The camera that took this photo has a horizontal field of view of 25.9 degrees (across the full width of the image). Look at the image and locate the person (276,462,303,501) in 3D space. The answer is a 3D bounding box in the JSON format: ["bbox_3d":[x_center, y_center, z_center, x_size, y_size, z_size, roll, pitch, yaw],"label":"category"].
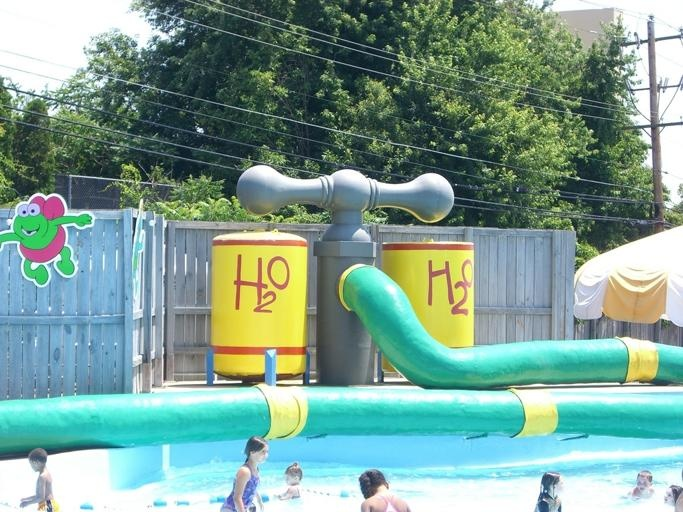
[{"bbox_3d":[-1.100,4.766,31.325,0.574,0.787,0.352,1,-1,-14],"label":"person"}]
